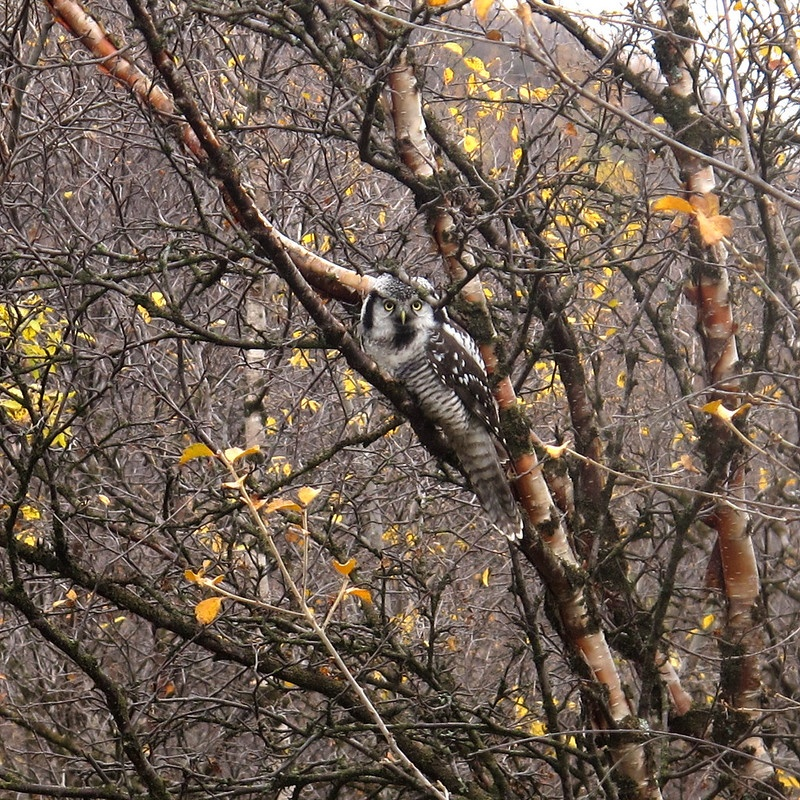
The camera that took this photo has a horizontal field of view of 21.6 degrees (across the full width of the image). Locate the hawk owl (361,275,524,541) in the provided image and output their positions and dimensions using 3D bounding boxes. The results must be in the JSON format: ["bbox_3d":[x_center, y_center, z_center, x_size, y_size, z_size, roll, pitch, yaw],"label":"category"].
[{"bbox_3d":[0.230,0.086,13.375,0.766,1.899,0.979,-12,-46,0],"label":"hawk owl"}]
